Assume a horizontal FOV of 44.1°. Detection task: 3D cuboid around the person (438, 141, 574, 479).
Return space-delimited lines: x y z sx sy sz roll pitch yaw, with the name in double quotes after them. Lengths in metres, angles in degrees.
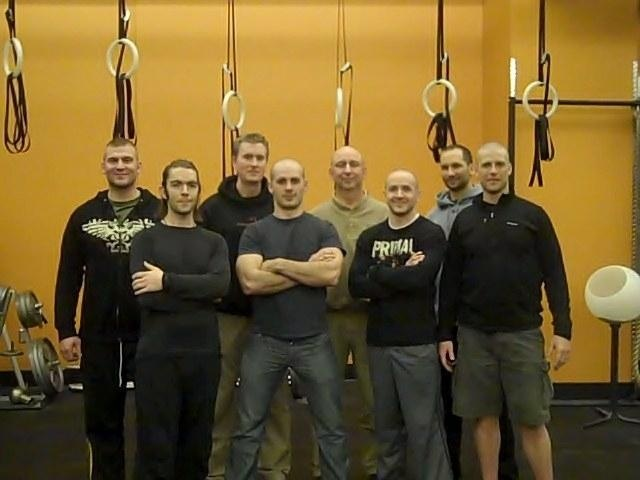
1.165 0.267 5.058 0.808 1.760 0.302 1 6 19 "person"
